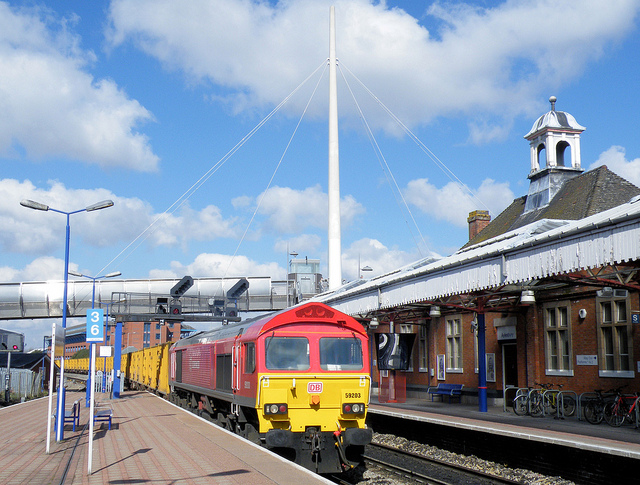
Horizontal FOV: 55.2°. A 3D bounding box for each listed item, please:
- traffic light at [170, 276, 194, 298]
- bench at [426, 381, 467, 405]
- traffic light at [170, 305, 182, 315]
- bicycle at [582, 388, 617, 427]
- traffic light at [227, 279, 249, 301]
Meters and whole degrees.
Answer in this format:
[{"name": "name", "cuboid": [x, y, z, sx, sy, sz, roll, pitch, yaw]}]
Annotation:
[{"name": "traffic light", "cuboid": [-7.792, 2.604, 34.679, 1.059, 1.104, 2.898, 14, -18, -10]}, {"name": "bench", "cuboid": [5.577, 6.511, 26.453, 1.118, 0.950, 2.283, -15, -1, -21]}, {"name": "traffic light", "cuboid": [-7.562, 3.475, 31.798, 0.433, 0.435, 0.146, 3, -10, -32]}, {"name": "bicycle", "cuboid": [8.373, 4.909, 18.405, 1.312, 0.901, 0.670, -4, -4, -33]}, {"name": "traffic light", "cuboid": [-4.599, 2.650, 33.858, 1.416, 1.136, 0.826, -15, 0, -30]}]
